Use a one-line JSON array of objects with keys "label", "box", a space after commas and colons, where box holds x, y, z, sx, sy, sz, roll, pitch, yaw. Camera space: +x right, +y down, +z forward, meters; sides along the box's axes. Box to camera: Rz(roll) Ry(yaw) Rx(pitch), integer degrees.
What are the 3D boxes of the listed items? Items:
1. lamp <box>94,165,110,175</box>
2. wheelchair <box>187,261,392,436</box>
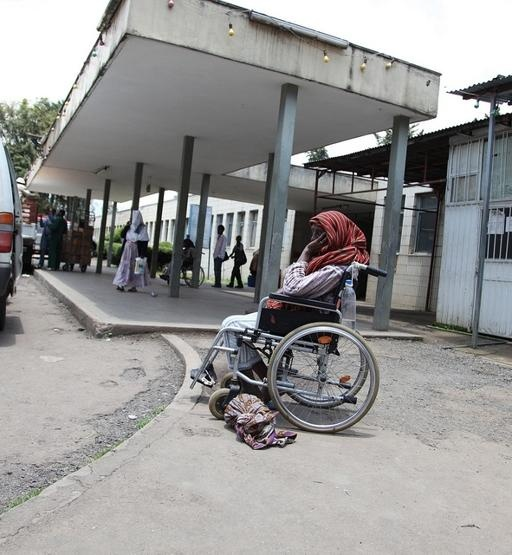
[{"label": "lamp", "box": [-6.668, -4.663, 18.494, 0.577, 0.204, 0.598, -13, 15, 3]}, {"label": "wheelchair", "box": [0.239, 0.440, 3.160, 1.408, 1.088, 1.070, 7, 1, 26]}]
